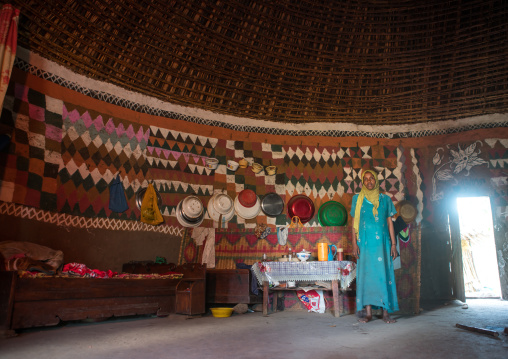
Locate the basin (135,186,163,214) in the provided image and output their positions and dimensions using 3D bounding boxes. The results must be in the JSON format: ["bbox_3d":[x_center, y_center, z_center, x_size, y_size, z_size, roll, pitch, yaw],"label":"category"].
[{"bbox_3d":[-1.979,0.358,6.565,0.136,0.608,0.628,-29,-26,34],"label":"basin"}]

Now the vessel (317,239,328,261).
[{"bbox_3d":[1.130,1.188,5.736,0.157,0.271,0.126,-3,-10,15],"label":"vessel"}]

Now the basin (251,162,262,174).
[{"bbox_3d":[0.067,-0.229,7.454,0.225,0.135,0.218,20,22,-9],"label":"basin"}]

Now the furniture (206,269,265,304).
[{"bbox_3d":[-0.628,1.922,6.174,0.939,0.498,0.927,3,-26,-19],"label":"furniture"}]

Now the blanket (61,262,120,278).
[{"bbox_3d":[-2.356,1.298,4.903,0.528,0.122,0.405,7,-14,-8],"label":"blanket"}]

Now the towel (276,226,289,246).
[{"bbox_3d":[0.539,1.067,6.631,0.194,0.325,0.097,2,-4,10],"label":"towel"}]

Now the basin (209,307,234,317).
[{"bbox_3d":[-0.497,2.038,5.392,0.317,0.146,0.271,1,-10,-7],"label":"basin"}]

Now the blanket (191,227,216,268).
[{"bbox_3d":[-0.974,1.311,6.770,0.469,0.773,0.161,2,-10,-10],"label":"blanket"}]

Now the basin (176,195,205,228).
[{"bbox_3d":[-1.220,0.578,6.904,0.140,0.539,0.576,-34,-7,33],"label":"basin"}]

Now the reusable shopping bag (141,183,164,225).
[{"bbox_3d":[-1.900,0.473,6.582,0.430,0.783,0.080,7,-12,-37],"label":"reusable shopping bag"}]

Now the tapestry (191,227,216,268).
[{"bbox_3d":[-0.949,1.336,6.874,0.574,0.965,0.152,9,25,8],"label":"tapestry"}]

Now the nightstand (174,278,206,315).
[{"bbox_3d":[-0.970,1.786,5.294,0.438,0.634,0.356,-7,-18,24],"label":"nightstand"}]

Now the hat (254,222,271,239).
[{"bbox_3d":[0.162,1.005,6.827,0.274,0.271,0.082,14,16,-20],"label":"hat"}]

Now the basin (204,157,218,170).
[{"bbox_3d":[-0.868,-0.313,7.197,0.254,0.256,0.123,-1,21,4],"label":"basin"}]
